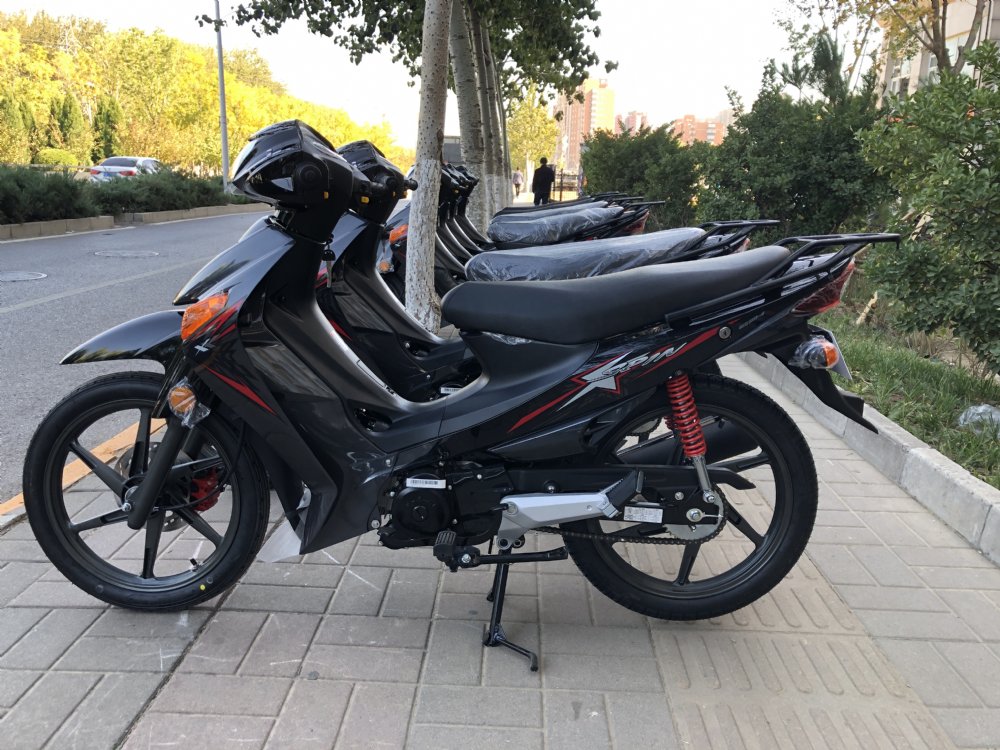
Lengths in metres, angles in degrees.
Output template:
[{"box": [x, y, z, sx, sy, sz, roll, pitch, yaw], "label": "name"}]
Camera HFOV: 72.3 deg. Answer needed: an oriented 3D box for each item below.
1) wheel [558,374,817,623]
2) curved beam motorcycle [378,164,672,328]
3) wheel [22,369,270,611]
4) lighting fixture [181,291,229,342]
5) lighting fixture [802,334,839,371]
[{"box": [0.706, 0.505, 2.657, 1.047, 0.945, 0.166, -5, 2, 3], "label": "wheel"}, {"box": [0.178, -1.124, 5.788, 2.727, 1.404, 1.067, 2, 19, 5], "label": "curved beam motorcycle"}, {"box": [-1.427, 0.477, 2.743, 1.081, 0.971, 0.161, 2, 8, 11], "label": "wheel"}, {"box": [-1.071, -0.213, 2.503, 0.080, 0.203, 0.127, 36, 13, -50], "label": "lighting fixture"}, {"box": [1.106, -0.078, 2.367, 0.128, 0.097, 0.094, 21, -17, -31], "label": "lighting fixture"}]
